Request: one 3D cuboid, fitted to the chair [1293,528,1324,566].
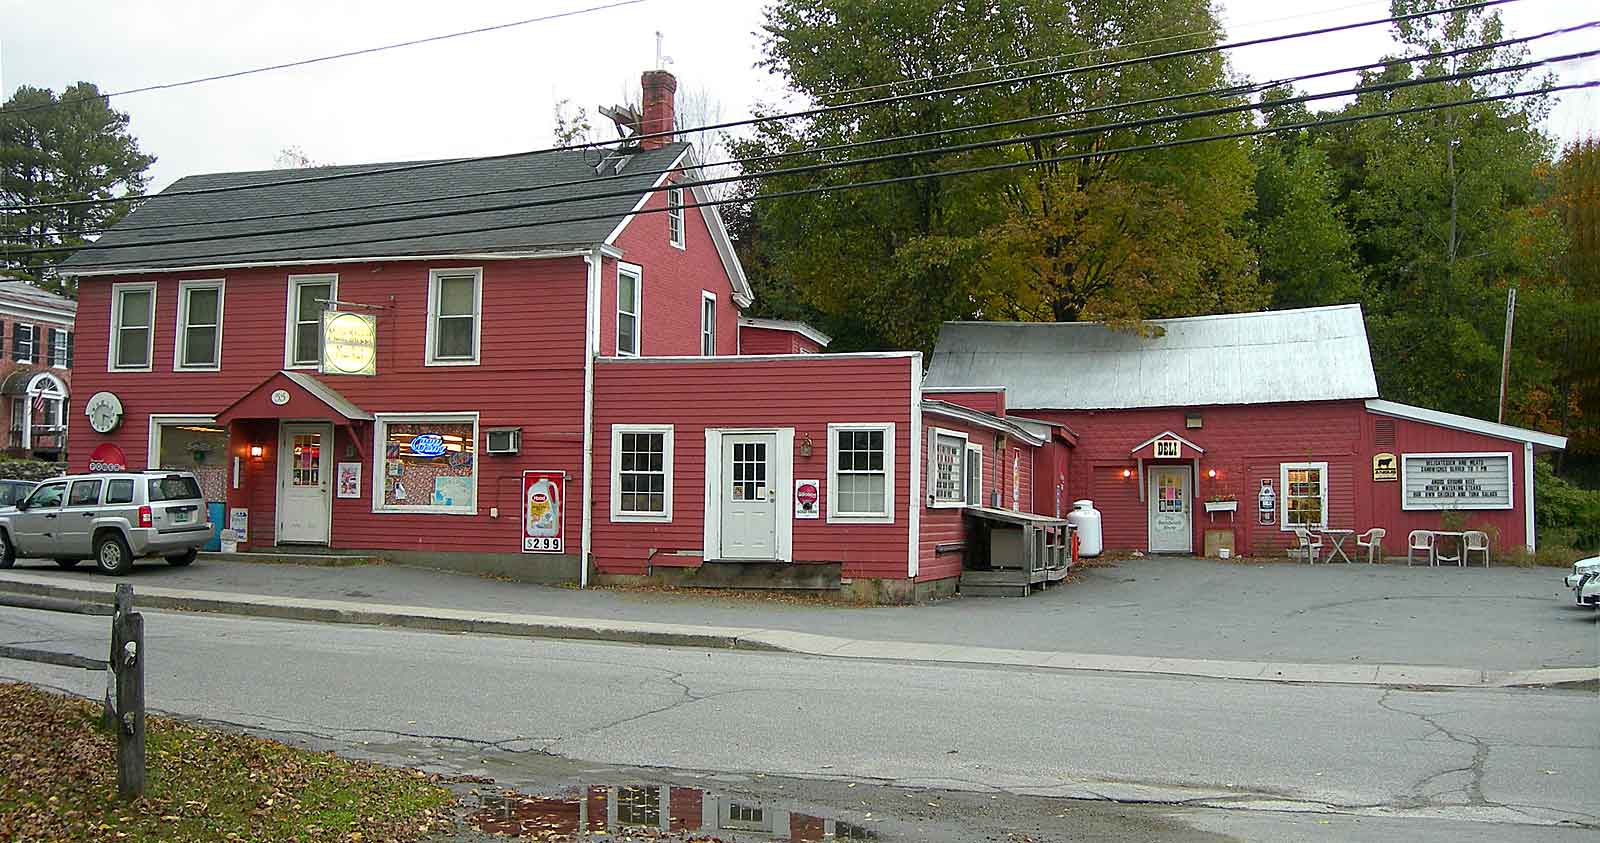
[{"bbox_3d":[18.659,4.467,52.942,0.834,1.236,1.092,-2,-8,18],"label":"chair"}]

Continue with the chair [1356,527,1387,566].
[{"bbox_3d":[21.003,4.406,52.421,1.284,1.514,1.207,-1,-2,-13],"label":"chair"}]

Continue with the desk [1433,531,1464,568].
[{"bbox_3d":[22.975,4.468,51.145,1.248,1.152,1.155,0,-8,1],"label":"desk"}]

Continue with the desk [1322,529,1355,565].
[{"bbox_3d":[19.985,4.524,53.172,1.343,1.130,1.256,-1,-5,10],"label":"desk"}]

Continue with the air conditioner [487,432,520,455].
[{"bbox_3d":[-9.175,0.634,44.964,0.761,0.601,0.280,-1,-8,7],"label":"air conditioner"}]

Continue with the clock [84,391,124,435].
[{"bbox_3d":[-22.873,-0.299,47.602,1.669,1.661,0.209,0,0,13],"label":"clock"}]

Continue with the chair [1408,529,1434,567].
[{"bbox_3d":[22.207,4.414,51.607,0.911,1.201,1.144,-3,-8,21],"label":"chair"}]
